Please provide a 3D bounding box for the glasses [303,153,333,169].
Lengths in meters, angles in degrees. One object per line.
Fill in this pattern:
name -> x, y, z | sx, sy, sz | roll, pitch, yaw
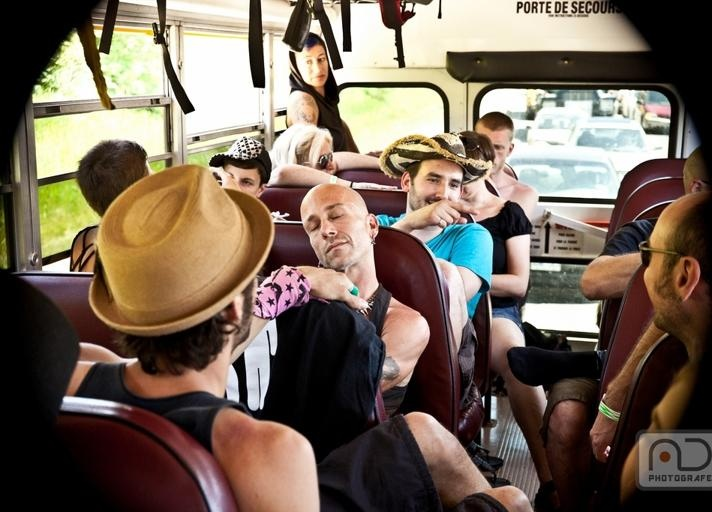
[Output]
glasses -> -0.355, -0.868, 5.411 | 0.184, 0.085, 0.172 | -6, 17, 19

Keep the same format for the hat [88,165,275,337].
hat -> -0.497, -0.035, 1.694 | 0.498, 0.435, 0.311 | -6, 20, -12

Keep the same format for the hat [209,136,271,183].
hat -> -0.818, -0.710, 4.204 | 0.404, 0.229, 0.299 | 27, -5, -30

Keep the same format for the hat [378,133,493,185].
hat -> 0.573, -0.682, 3.874 | 0.487, 0.219, 0.457 | 0, 1, -17
